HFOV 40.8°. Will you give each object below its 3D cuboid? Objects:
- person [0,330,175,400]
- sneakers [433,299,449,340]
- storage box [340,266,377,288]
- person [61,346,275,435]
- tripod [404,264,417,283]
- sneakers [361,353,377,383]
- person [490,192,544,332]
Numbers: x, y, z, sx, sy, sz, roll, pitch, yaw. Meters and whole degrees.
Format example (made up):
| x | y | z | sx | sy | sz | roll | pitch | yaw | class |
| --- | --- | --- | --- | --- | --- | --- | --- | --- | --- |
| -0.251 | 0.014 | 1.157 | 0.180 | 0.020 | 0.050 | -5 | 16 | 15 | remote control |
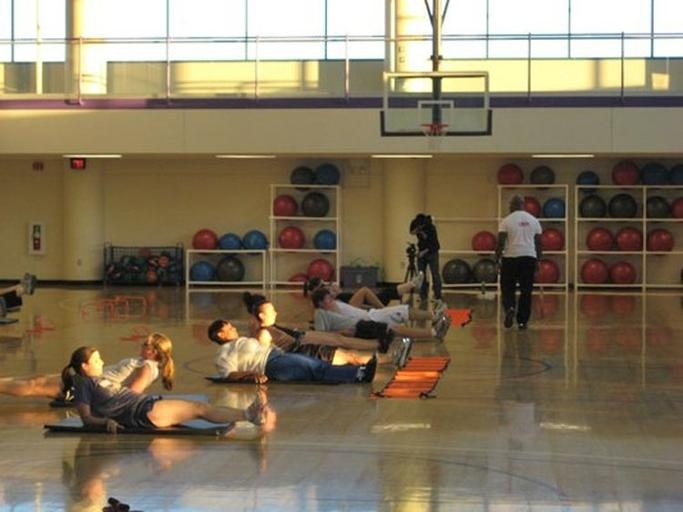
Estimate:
| x | y | z | sx | sy | sz | roll | pitch | yaw | class |
| --- | --- | --- | --- | --- | --- | --- | --- | --- | --- |
| -2.296 | 0.999 | 8.292 | 1.884 | 0.777 | 0.656 | 0 | -3 | 9 | person |
| 1.036 | 0.637 | 10.063 | 0.142 | 0.191 | 0.454 | -23 | 34 | 35 | sneakers |
| 0.296 | 0.393 | 15.639 | 0.442 | 0.306 | 0.373 | -1 | -2 | 0 | storage box |
| -1.413 | 1.032 | 7.968 | 1.540 | 0.729 | 0.758 | 4 | 3 | 3 | person |
| 1.078 | 0.246 | 14.338 | 0.219 | 0.318 | 0.239 | 0 | -2 | -4 | tripod |
| 0.260 | 1.069 | 8.860 | 0.071 | 0.092 | 0.351 | 4 | 34 | 13 | sneakers |
| 2.075 | 0.074 | 10.902 | 0.549 | 1.603 | 0.597 | 0 | 4 | -9 | person |
